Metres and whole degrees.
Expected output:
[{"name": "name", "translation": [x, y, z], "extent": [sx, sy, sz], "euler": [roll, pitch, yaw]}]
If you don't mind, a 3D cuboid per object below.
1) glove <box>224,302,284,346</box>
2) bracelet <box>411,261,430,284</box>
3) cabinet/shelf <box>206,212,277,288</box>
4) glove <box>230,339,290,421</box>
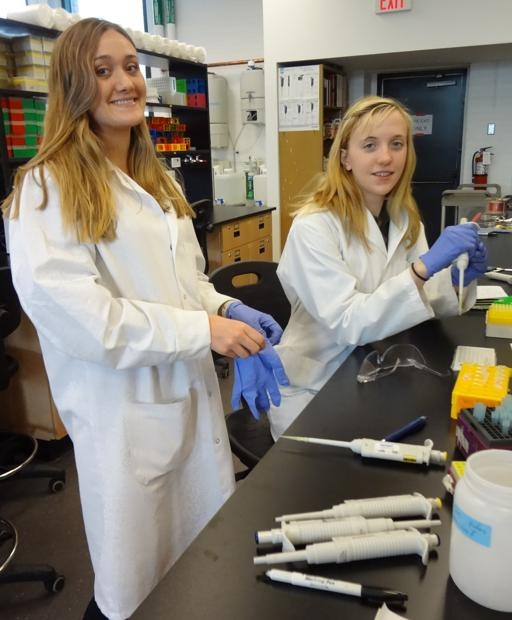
[{"name": "glove", "translation": [-0.010, 0.024, 1.253], "extent": [0.124, 0.047, 0.096], "euler": [28, 18, 10]}, {"name": "bracelet", "translation": [0.384, -0.088, 1.208], "extent": [0.013, 0.048, 0.045], "euler": [-33, 24, 11]}, {"name": "cabinet/shelf", "translation": [-0.118, -0.424, 3.427], "extent": [0.265, 0.678, 0.714], "euler": [5, 16, 26]}, {"name": "glove", "translation": [0.011, 0.155, 1.151], "extent": [0.112, 0.175, 0.071], "euler": [-6, 11, 4]}]
